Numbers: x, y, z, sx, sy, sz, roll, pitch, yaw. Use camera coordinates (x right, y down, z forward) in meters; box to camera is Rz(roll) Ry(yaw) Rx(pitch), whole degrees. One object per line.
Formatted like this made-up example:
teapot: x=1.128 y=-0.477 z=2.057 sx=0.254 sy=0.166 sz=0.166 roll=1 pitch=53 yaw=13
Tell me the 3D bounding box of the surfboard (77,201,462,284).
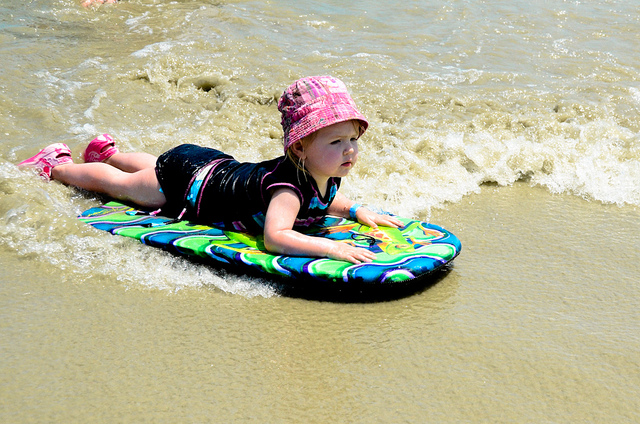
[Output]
surfboard: x=-0.503 y=0.271 z=7.253 sx=2.789 sy=0.160 sz=1.113 roll=6 pitch=13 yaw=22
